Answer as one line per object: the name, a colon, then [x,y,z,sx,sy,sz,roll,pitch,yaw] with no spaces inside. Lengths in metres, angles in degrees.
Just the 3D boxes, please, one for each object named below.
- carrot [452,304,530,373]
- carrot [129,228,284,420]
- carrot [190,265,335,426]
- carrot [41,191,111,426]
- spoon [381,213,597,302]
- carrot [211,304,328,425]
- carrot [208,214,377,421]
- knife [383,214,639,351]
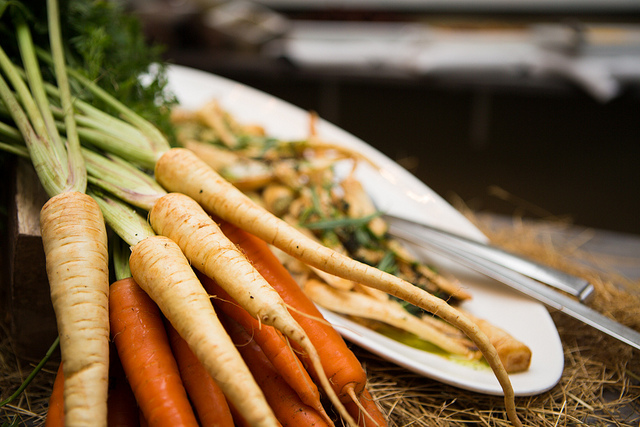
carrot: [0.438,0.331,1.476,0.067,0.061,0.226,-28,44,-20]
carrot: [-0.271,0.266,1.299,0.477,0.122,0.125,50,7,22]
carrot: [-0.141,0.317,1.302,0.068,0.058,0.481,-40,71,-22]
carrot: [-0.563,0.159,1.321,0.140,0.141,0.609,21,48,-45]
spoon: [0.460,0.129,1.568,0.437,0.064,0.035,29,-11,28]
carrot: [-0.112,0.353,1.288,0.347,0.052,0.050,48,5,11]
carrot: [-0.073,0.265,1.356,0.575,0.086,0.095,45,53,7]
knife: [0.505,0.197,1.519,0.716,0.059,0.036,29,10,23]
